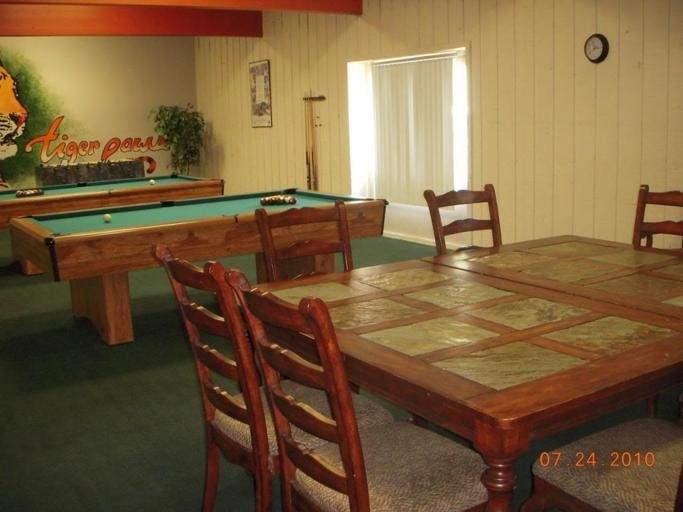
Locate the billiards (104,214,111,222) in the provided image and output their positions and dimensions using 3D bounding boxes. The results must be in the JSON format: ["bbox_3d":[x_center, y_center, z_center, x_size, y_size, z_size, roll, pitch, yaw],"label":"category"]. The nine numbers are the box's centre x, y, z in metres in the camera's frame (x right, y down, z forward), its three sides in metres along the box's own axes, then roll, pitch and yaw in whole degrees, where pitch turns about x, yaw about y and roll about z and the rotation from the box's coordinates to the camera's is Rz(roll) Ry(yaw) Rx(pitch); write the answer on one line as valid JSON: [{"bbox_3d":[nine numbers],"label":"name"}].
[{"bbox_3d":[-1.823,-0.294,4.154,0.058,0.046,0.062,-7,-15,-30],"label":"billiards"}]

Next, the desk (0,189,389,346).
[{"bbox_3d":[-1.092,0.062,3.472,1.557,0.411,0.620,-10,17,-37],"label":"desk"}]

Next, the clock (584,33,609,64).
[{"bbox_3d":[2.264,-1.836,4.763,0.070,0.249,0.223,-13,18,-25],"label":"clock"}]

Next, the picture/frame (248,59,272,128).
[{"bbox_3d":[-1.366,-2.714,9.027,0.268,1.091,0.786,-13,18,-25],"label":"picture/frame"}]
